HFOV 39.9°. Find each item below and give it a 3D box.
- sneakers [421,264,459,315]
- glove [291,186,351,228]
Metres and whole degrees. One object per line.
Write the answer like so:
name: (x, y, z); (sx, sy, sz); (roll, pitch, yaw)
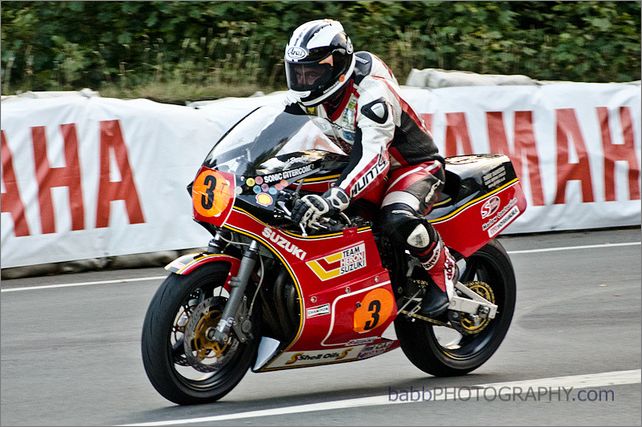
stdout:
sneakers: (1.206, 0.798, 9.108); (0.265, 0.588, 0.282); (13, -17, 47)
glove: (-0.006, -0.083, 8.368); (0.508, 0.205, 0.344); (-30, 62, -15)
